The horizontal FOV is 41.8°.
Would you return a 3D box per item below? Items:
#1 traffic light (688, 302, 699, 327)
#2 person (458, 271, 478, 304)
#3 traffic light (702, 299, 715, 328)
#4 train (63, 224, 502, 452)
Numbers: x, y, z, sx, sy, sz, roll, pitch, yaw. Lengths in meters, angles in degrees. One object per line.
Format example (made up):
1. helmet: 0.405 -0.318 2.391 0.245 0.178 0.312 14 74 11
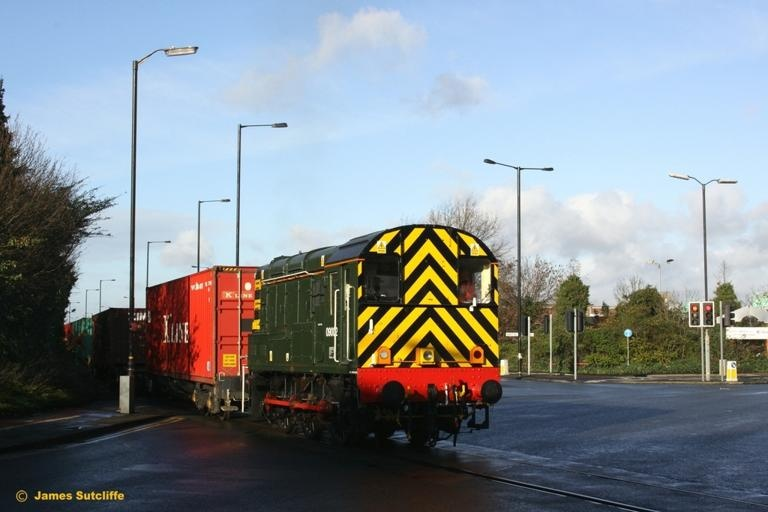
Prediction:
1. traffic light: 15.848 2.983 51.112 0.634 1.156 0.362 1 1 33
2. person: 2.300 0.869 27.216 0.491 0.805 0.241 0 1 -12
3. traffic light: 16.508 2.955 50.975 0.491 1.299 0.919 1 1 24
4. train: -3.838 3.046 36.009 4.652 6.250 22.921 3 -6 -25
